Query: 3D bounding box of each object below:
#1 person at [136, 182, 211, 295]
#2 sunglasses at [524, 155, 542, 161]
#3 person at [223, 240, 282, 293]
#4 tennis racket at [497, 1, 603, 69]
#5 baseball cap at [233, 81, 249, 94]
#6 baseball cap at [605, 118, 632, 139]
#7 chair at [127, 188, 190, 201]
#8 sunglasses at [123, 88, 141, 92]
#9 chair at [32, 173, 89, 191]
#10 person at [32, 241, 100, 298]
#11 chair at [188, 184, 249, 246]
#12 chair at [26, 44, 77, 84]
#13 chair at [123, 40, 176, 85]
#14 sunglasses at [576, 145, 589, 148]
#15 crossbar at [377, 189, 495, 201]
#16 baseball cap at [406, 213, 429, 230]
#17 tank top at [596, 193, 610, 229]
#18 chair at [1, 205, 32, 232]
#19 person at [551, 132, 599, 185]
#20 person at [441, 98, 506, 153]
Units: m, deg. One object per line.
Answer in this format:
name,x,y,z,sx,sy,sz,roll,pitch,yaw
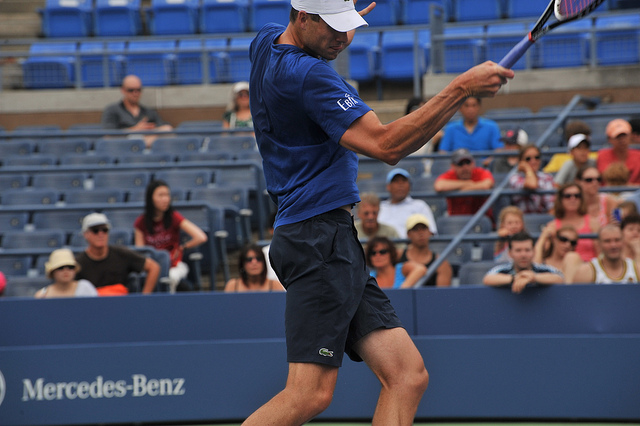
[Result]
person,-1.580,0.419,14.694,0.854,1.418,0.731,3,17,5
sunglasses,2.278,-0.606,15.299,0.168,0.063,0.048,1,5,-2
person,-0.656,0.623,14.280,0.776,0.642,0.344,-2,-2,6
tennis racket,1.935,-1.525,12.049,0.852,0.590,0.519,1,5,0
baseball cap,-0.963,-1.501,16.773,0.162,0.150,0.202,0,5,-3
baseball cap,3.283,-0.940,15.675,0.256,0.212,0.312,2,5,13
chair,-1.718,-0.201,15.484,0.568,0.154,0.190,1,-30,-15
sunglasses,-1.862,-1.224,13.960,0.167,0.037,0.037,-1,5,-18
chair,-2.779,-0.333,15.041,0.668,0.188,0.146,-3,6,-36
person,-2.606,0.607,14.156,0.847,0.469,1.120,-1,2,-22
chair,-1.078,-0.010,16.011,0.668,0.828,0.665,-2,-7,4
chair,-2.660,-1.485,14.123,0.639,0.399,0.403,-1,7,24
chair,-1.734,-1.524,14.184,0.667,0.426,0.423,-1,9,-4
sunglasses,2.885,-0.747,15.643,0.122,0.029,0.034,0,5,-10
crossbar,1.344,-0.236,15.497,1.162,0.119,0.049,-1,-15,11
baseball cap,0.991,0.085,14.575,0.223,0.149,0.292,1,5,3
tank top,2.917,-0.039,14.678,0.133,0.323,0.469,2,5,11
chair,-3.177,0.048,14.742,0.378,0.248,0.249,3,37,-7
person,2.812,-0.595,15.687,0.331,0.477,0.714,-6,0,35
person,1.736,-0.992,16.355,1.002,0.792,0.526,-2,0,1
